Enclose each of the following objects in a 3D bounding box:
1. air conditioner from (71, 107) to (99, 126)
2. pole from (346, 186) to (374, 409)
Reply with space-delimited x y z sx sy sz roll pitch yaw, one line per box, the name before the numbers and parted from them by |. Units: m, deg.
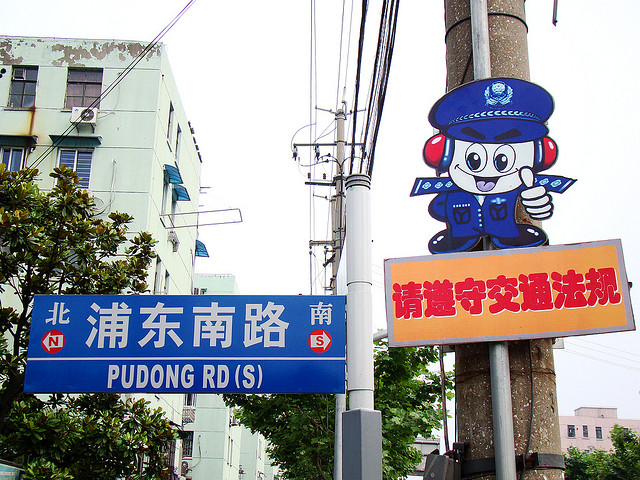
air conditioner | -7.895 -4.130 22.231 0.902 0.714 0.565 1 -17 -4
pole | 0.339 0.474 5.787 0.229 1.933 0.178 0 -12 2
